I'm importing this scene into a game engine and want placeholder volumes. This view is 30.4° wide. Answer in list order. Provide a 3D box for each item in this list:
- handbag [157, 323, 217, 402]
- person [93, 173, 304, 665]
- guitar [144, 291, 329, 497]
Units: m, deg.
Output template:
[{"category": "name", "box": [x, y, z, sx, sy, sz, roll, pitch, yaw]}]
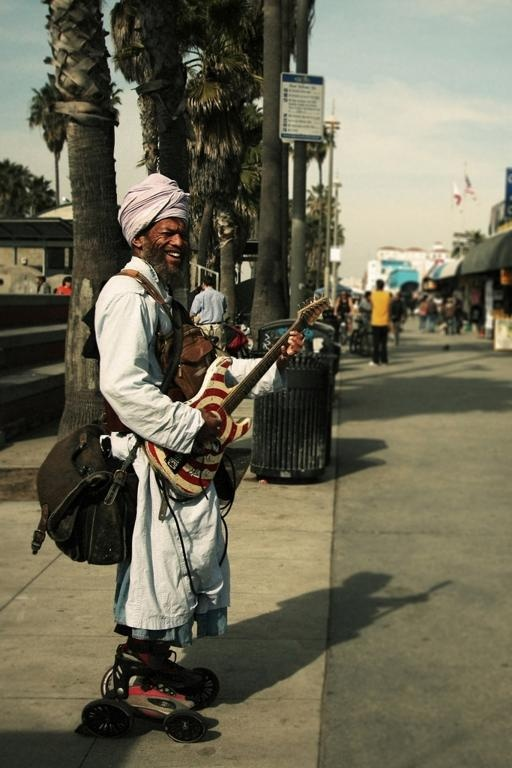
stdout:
[{"category": "handbag", "box": [-0.180, -0.108, 3.331, 0.228, 0.359, 0.289, -5, 6, 8]}, {"category": "person", "box": [-0.182, 0.114, 3.306, 0.638, 1.544, 0.625, 0, 1, 4]}, {"category": "guitar", "box": [-0.068, 0.071, 3.368, 0.251, 0.603, 0.756, 5, 8, 34]}]
